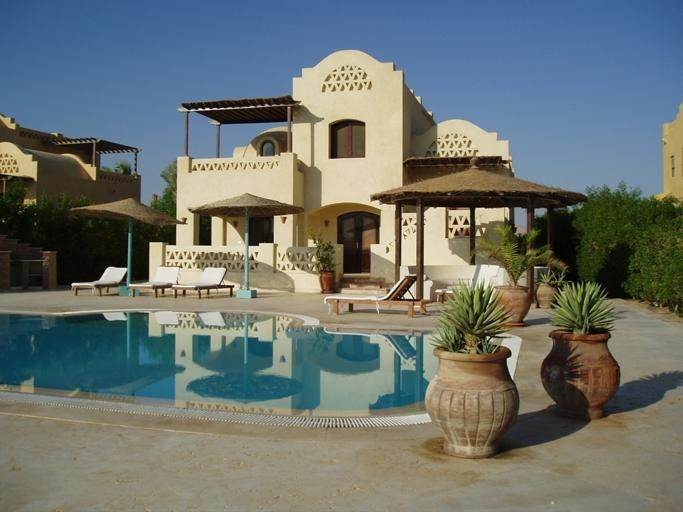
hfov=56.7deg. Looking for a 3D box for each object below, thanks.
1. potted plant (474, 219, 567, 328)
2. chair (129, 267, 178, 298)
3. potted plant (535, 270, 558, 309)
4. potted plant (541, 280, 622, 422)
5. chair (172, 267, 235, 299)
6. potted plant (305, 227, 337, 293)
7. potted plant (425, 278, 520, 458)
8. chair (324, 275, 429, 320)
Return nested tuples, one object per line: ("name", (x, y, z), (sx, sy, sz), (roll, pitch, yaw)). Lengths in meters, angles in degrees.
("potted plant", (4.365, 0.466, 15.321), (2.437, 2.408, 1.932), (8, -3, -24))
("chair", (-6.493, 0.809, 21.955), (1.039, 0.927, 1.427), (0, 0, 16))
("potted plant", (5.731, 0.910, 17.726), (0.582, 0.977, 0.601), (-3, 3, 45))
("potted plant", (3.079, 1.181, 8.190), (0.937, 1.670, 0.762), (2, 6, 25))
("chair", (-4.862, 0.870, 21.841), (1.103, 1.049, 1.904), (-2, -4, 25))
("potted plant", (-0.652, 0.240, 23.072), (0.840, 2.096, 0.939), (-1, 6, -2))
("potted plant", (1.523, 1.263, 7.417), (1.041, 1.882, 1.028), (1, 6, 14))
("chair", (0.814, 1.099, 16.313), (2.095, 0.968, 1.345), (1, -1, 14))
